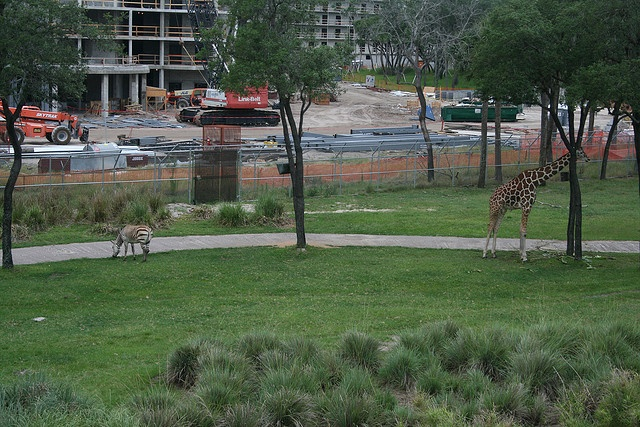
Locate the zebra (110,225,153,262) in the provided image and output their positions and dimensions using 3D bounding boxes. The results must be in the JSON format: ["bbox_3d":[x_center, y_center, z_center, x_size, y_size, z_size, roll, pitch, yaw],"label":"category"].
[{"bbox_3d":[-6.834,1.075,33.732,1.226,1.292,1.912,-4,6,-28],"label":"zebra"}]

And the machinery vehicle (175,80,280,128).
[{"bbox_3d":[-8.476,-9.296,78.725,9.667,3.563,6.170,-2,6,-31],"label":"machinery vehicle"}]
